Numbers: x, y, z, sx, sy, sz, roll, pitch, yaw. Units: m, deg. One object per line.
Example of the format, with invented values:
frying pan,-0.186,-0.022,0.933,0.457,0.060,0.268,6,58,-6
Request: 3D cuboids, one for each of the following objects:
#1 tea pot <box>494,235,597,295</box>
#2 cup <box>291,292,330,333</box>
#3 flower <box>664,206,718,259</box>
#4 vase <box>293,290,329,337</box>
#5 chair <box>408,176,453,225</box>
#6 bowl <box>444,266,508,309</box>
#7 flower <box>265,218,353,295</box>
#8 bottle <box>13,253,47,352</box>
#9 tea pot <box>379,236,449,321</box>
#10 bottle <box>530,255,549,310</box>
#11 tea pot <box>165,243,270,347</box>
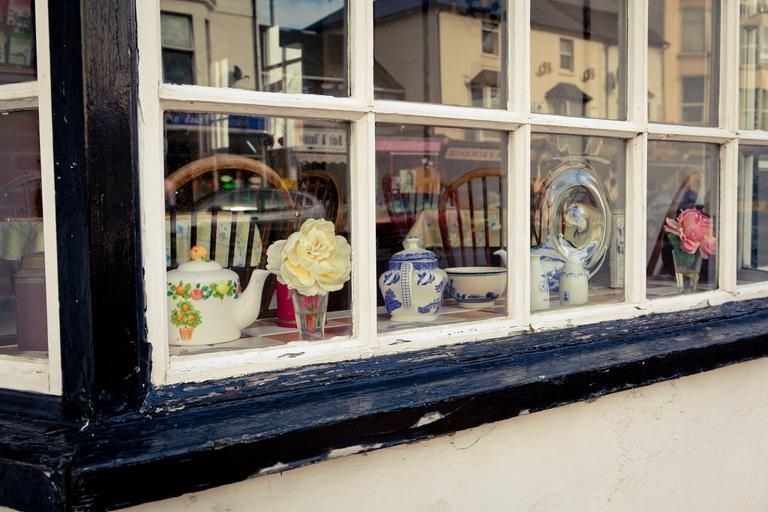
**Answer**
tea pot,0.485,0.012,2.047,0.246,0.097,0.179,-3,3,2
cup,-0.165,0.141,1.718,0.095,0.106,0.088,1,-7,0
flower,0.984,-0.072,2.239,0.148,0.157,0.068,-3,3,-10
vase,-0.173,0.138,1.670,0.085,0.107,0.085,-3,3,-8
chair,0.142,-0.172,2.228,0.134,0.150,0.142,-1,-1,34
bowl,0.255,0.090,2.005,0.190,0.111,0.192,4,4,0
flower,-0.167,0.008,1.597,0.178,0.187,0.081,-11,2,-3
bottle,-0.792,0.100,1.563,0.122,0.216,0.050,1,4,41
tea pot,0.073,0.061,1.888,0.179,0.229,0.222,2,9,17
bottle,0.429,0.072,1.917,0.042,0.149,0.116,-1,3,23
tea pot,-0.412,0.081,1.703,0.269,0.208,0.212,1,5,-4
